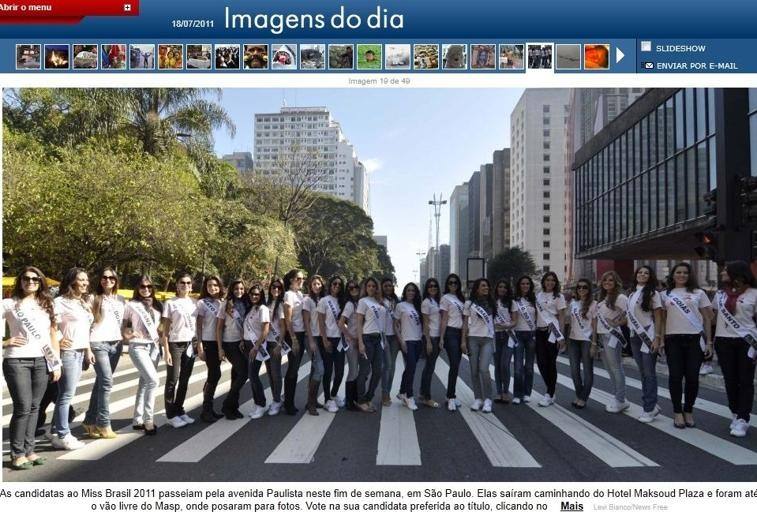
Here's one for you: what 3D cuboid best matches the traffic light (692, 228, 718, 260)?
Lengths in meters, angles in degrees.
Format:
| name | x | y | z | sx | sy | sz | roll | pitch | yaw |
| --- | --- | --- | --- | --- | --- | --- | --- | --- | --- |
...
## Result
| name | x | y | z | sx | sy | sz | roll | pitch | yaw |
| --- | --- | --- | --- | --- | --- | --- | --- | --- | --- |
| traffic light | 8.120 | -0.237 | 14.541 | 0.365 | 0.714 | 0.763 | 0 | -2 | -8 |

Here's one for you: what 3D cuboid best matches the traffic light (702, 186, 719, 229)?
| name | x | y | z | sx | sy | sz | roll | pitch | yaw |
| --- | --- | --- | --- | --- | --- | --- | --- | --- | --- |
| traffic light | 8.192 | -1.162 | 14.503 | 0.285 | 1.000 | 0.796 | -1 | -2 | 29 |

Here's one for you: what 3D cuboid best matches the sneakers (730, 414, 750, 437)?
| name | x | y | z | sx | sy | sz | roll | pitch | yaw |
| --- | --- | --- | --- | --- | --- | --- | --- | --- | --- |
| sneakers | 5.960 | 2.856 | 9.726 | 0.173 | 0.245 | 0.512 | -8 | -9 | 37 |
